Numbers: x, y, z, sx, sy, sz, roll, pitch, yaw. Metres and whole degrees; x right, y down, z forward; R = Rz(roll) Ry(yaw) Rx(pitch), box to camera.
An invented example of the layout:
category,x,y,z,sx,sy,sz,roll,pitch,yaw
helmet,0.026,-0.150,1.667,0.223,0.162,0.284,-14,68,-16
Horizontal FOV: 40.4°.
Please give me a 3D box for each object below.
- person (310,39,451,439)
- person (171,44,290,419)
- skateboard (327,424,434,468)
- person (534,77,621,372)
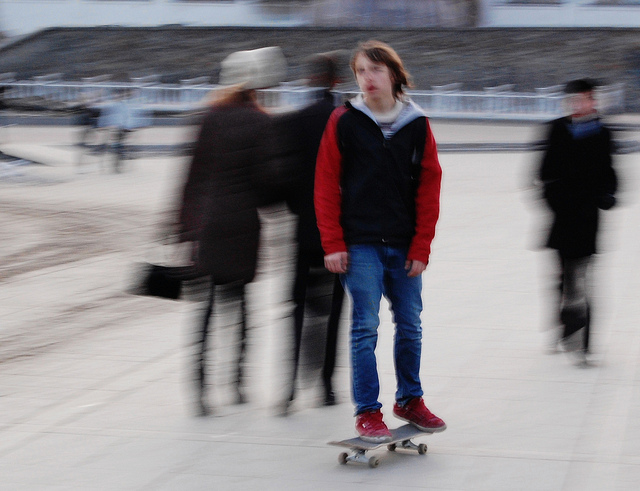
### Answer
category,x,y,z,sx,sy,sz,roll,pitch,yaw
person,0.358,-0.023,5.183,0.730,2.372,0.378,-3,9,-10
person,-0.676,-0.082,6.077,0.862,2.488,0.868,-3,9,-9
skateboard,0.368,1.213,5.297,0.631,0.216,0.231,-2,7,-9
person,1.937,-0.152,6.625,0.526,2.156,0.663,-5,9,-21
